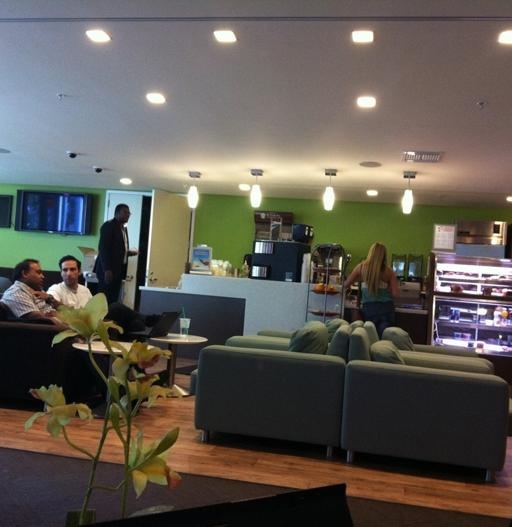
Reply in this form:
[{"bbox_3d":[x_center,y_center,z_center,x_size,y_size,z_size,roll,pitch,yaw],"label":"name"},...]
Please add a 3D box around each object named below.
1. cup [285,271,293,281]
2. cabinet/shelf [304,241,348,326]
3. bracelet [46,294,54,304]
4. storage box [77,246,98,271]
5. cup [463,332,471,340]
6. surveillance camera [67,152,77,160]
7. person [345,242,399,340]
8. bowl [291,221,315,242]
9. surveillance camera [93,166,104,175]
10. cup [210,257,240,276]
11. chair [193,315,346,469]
[{"bbox_3d":[0.417,0.157,5.715,0.109,0.169,0.086,0,-8,9],"label":"cup"},{"bbox_3d":[0.903,0.135,5.755,0.454,1.207,0.543,12,39,19],"label":"cabinet/shelf"},{"bbox_3d":[-1.866,0.330,4.128,0.020,0.072,0.063,-14,27,-29],"label":"bracelet"},{"bbox_3d":[-2.912,-0.088,7.858,0.369,0.590,0.446,1,1,-5],"label":"storage box"},{"bbox_3d":[2.616,0.904,5.611,0.086,0.093,0.091,1,-1,0],"label":"cup"},{"bbox_3d":[-2.457,-1.446,6.076,0.082,0.063,0.085,-1,0,-37],"label":"surveillance camera"},{"bbox_3d":[1.351,0.525,5.335,0.612,1.615,0.481,4,16,18],"label":"person"},{"bbox_3d":[0.615,-0.415,6.252,0.255,0.305,0.489,2,-4,19],"label":"bowl"},{"bbox_3d":[-2.410,-1.419,6.931,0.109,0.120,0.086,-5,11,2],"label":"surveillance camera"},{"bbox_3d":[-0.493,0.048,6.484,0.389,0.236,0.265,7,-4,-24],"label":"cup"},{"bbox_3d":[0.104,0.775,2.943,0.665,0.641,0.763,3,-6,11],"label":"chair"}]
